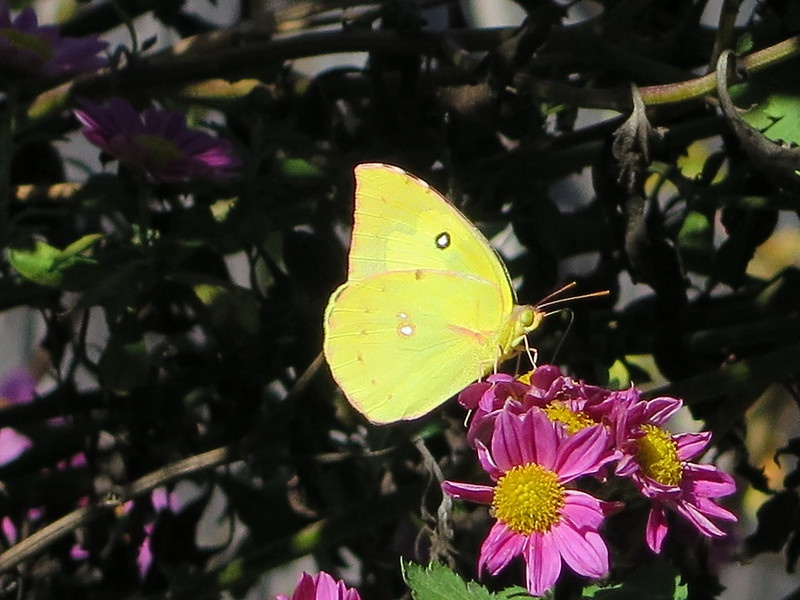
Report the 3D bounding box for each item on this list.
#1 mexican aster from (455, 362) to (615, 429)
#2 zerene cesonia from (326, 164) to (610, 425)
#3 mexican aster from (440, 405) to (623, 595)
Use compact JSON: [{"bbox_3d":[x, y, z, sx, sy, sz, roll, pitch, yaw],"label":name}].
[{"bbox_3d":[0.191,0.150,1.512,0.205,0.220,0.108,2,80,-21],"label":"mexican aster"},{"bbox_3d":[0.057,0.003,1.677,0.375,0.300,0.609,0,101,-15],"label":"zerene cesonia"},{"bbox_3d":[0.210,0.286,1.428,0.239,0.093,0.268,21,90,19],"label":"mexican aster"}]
